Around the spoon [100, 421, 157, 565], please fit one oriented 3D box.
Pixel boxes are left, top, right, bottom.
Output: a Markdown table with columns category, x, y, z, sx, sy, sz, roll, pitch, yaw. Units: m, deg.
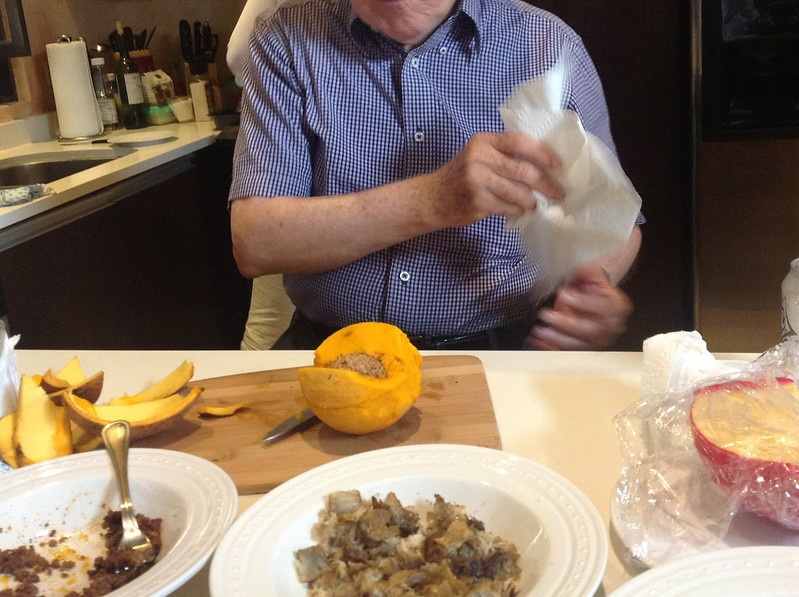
| category | x | y | z | sx | sy | sz | roll | pitch | yaw |
| --- | --- | --- | --- | --- | --- | --- | --- | --- | --- |
| spoon | -0.320 | 0.227 | 0.771 | 0.048 | 0.034 | 0.229 | -18 | 55 | 2 |

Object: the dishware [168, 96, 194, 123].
| category | x | y | z | sx | sy | sz | roll | pitch | yaw |
| --- | --- | --- | --- | --- | --- | --- | --- | --- | --- |
| dishware | -0.996 | -0.871 | 3.035 | 0.110 | 0.133 | 0.111 | -11 | 24 | -6 |

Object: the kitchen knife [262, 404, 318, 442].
| category | x | y | z | sx | sy | sz | roll | pitch | yaw |
| --- | --- | --- | --- | --- | --- | --- | --- | --- | --- |
| kitchen knife | -0.159 | 0.184 | 0.943 | 0.028 | 0.005 | 0.109 | 27 | 37 | 31 |

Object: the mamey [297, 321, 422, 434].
| category | x | y | z | sx | sy | sz | roll | pitch | yaw |
| --- | --- | --- | --- | --- | --- | --- | --- | --- | --- |
| mamey | -0.045 | 0.099 | 0.935 | 0.169 | 0.105 | 0.138 | -13 | 35 | -16 |

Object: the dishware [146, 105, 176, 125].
| category | x | y | z | sx | sy | sz | roll | pitch | yaw |
| --- | --- | --- | --- | --- | --- | --- | --- | --- | --- |
| dishware | -1.098 | -0.837 | 3.007 | 0.145 | 0.101 | 0.078 | -11 | 11 | -41 |
